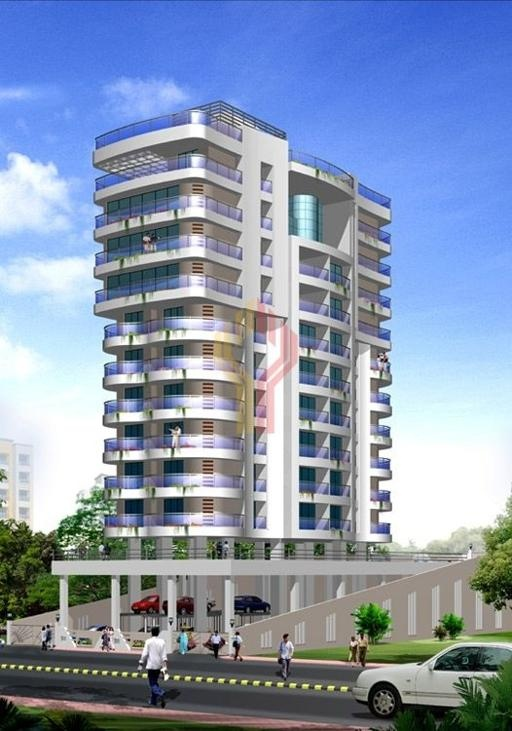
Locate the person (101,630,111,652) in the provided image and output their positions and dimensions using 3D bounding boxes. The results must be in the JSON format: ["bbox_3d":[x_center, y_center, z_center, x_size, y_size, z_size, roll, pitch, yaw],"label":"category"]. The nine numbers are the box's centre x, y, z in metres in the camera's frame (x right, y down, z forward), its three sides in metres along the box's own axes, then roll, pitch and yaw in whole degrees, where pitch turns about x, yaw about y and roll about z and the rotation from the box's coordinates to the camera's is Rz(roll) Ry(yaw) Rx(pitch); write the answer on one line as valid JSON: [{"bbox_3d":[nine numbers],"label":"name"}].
[{"bbox_3d":[-6.991,12.667,60.643,0.423,0.949,0.981,2,-14,-7],"label":"person"}]

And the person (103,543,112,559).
[{"bbox_3d":[-7.678,9.521,66.807,0.474,0.687,1.113,1,-13,-7],"label":"person"}]

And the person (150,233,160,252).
[{"bbox_3d":[-5.431,-6.446,69.263,0.575,1.014,0.267,-9,-16,32],"label":"person"}]

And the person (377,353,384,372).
[{"bbox_3d":[7.930,-0.257,85.995,0.343,1.274,0.801,-7,-15,25],"label":"person"}]

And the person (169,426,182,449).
[{"bbox_3d":[-4.239,3.728,67.712,0.980,0.918,0.619,-9,-20,32],"label":"person"}]
